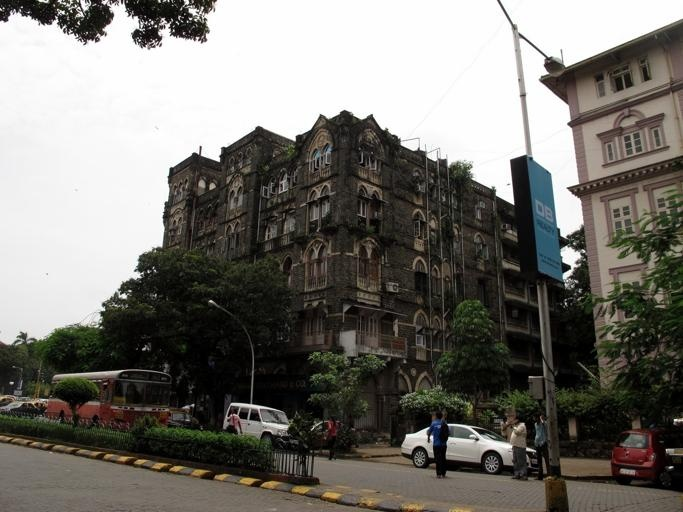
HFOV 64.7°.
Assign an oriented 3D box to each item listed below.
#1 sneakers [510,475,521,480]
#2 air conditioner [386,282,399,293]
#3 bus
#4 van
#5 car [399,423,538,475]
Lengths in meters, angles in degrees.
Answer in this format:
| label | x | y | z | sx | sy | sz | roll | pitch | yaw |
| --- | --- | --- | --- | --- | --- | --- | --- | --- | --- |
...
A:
| label | x | y | z | sx | sy | sz | roll | pitch | yaw |
| --- | --- | --- | --- | --- | --- | --- | --- | --- | --- |
| sneakers | 6.105 | 7.721 | 18.779 | 0.127 | 0.168 | 0.383 | 2 | -11 | -17 |
| air conditioner | 3.653 | 2.329 | 39.026 | 0.643 | 0.818 | 1.149 | -20 | -26 | 39 |
| bus | -15.035 | 8.296 | 33.428 | 4.189 | 3.886 | 12.344 | 10 | -19 | -42 |
| van | -4.819 | 8.398 | 27.531 | 4.736 | 2.427 | 2.672 | -8 | -19 | 33 |
| car | 4.960 | 7.813 | 21.789 | 4.615 | 1.640 | 2.118 | -16 | -28 | 34 |
